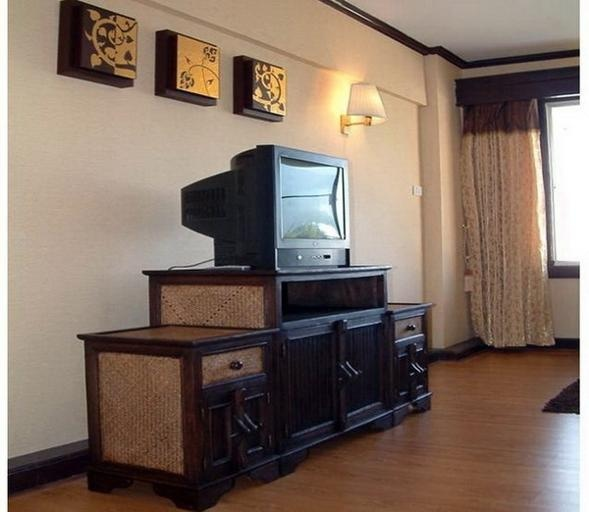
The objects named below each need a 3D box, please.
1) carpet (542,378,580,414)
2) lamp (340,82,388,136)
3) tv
[{"bbox_3d":[1.693,0.902,3.297,0.188,0.072,0.707,1,4,30],"label":"carpet"},{"bbox_3d":[0.532,-1.124,4.042,0.346,0.364,0.347,-2,6,-20],"label":"lamp"},{"bbox_3d":[-0.100,-0.218,2.740,0.848,0.617,0.889,-1,2,-21],"label":"tv"}]
